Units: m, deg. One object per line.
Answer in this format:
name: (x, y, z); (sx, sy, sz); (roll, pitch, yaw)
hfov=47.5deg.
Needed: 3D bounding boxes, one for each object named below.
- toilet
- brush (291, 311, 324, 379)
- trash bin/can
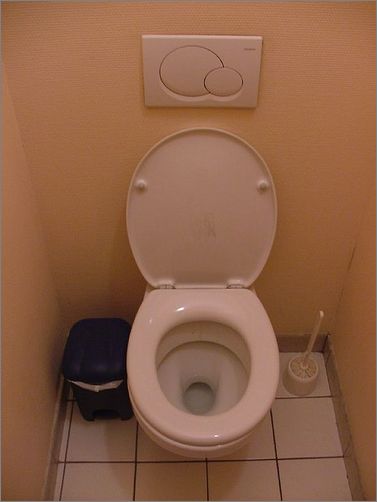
toilet: (0.035, 0.178, 1.050); (0.334, 0.754, 0.584); (-2, 40, -4)
brush: (0.393, 0.284, 1.322); (0.086, 0.271, 0.112); (2, 49, -6)
trash bin/can: (-0.255, 0.368, 1.288); (0.177, 0.313, 0.207); (-3, 42, -1)
